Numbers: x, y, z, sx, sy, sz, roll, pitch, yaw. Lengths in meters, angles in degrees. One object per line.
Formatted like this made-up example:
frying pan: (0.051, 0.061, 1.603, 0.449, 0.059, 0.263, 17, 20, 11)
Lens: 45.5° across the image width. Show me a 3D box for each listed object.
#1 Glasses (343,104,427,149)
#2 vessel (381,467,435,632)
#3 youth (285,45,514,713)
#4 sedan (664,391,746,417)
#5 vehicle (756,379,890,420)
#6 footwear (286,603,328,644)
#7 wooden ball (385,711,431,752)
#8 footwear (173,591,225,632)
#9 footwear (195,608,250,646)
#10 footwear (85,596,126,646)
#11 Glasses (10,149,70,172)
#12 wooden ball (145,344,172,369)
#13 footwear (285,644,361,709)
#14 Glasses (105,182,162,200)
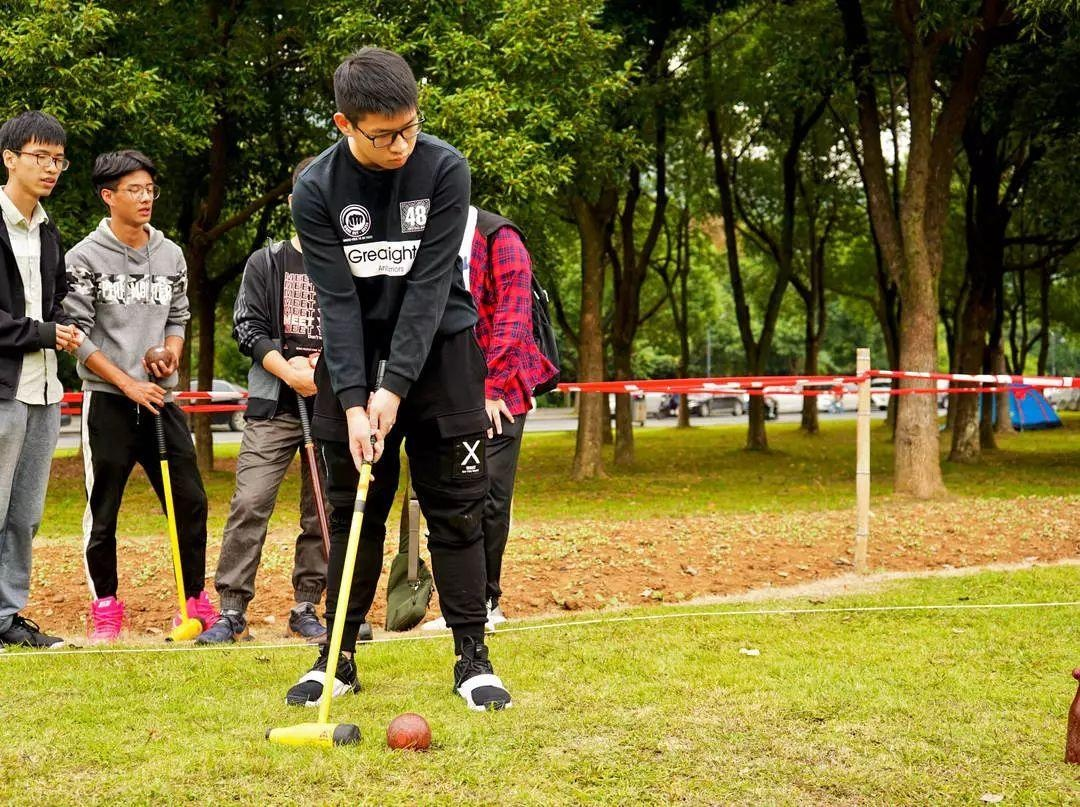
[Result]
Glasses: (-0.731, -1.349, 6.328, 0.372, 0.183, 0.177, -3, 5, -27)
vessel: (-0.825, 0.973, 8.136, 0.362, 1.149, 0.492, 17, -49, -21)
youth: (-0.801, -0.109, 6.596, 1.134, 3.288, 1.056, -1, 1, 5)
sedan: (6.000, 0.044, 45.698, 2.452, 1.017, 1.247, 5, -7, -29)
vehicle: (6.104, -0.003, 28.266, 2.960, 0.942, 1.293, -4, 4, -19)
footwear: (-1.442, 1.365, 7.990, 0.145, 0.175, 0.399, 2, -2, -39)
wooden ball: (-0.610, 1.560, 6.099, 0.179, 0.156, 0.172, 4, -10, 1)
footwear: (-2.145, 1.330, 8.231, 0.389, 0.161, 0.128, 19, 9, 29)
footwear: (-1.938, 1.387, 7.829, 0.258, 0.180, 0.436, -1, 4, -2)
footwear: (-2.683, 1.351, 8.001, 0.181, 0.235, 0.328, -2, 5, -20)
Glasses: (-2.995, -1.497, 7.747, 0.181, 0.051, 0.171, 8, -7, 22)
wooden ball: (-2.390, -0.295, 8.107, 0.112, 0.110, 0.144, -3, 3, 6)
footwear: (-1.100, 1.400, 6.688, 0.226, 0.273, 0.622, -2, -1, 23)
Glasses: (-2.518, -1.360, 8.241, 0.222, 0.111, 0.385, 1, 4, 15)
